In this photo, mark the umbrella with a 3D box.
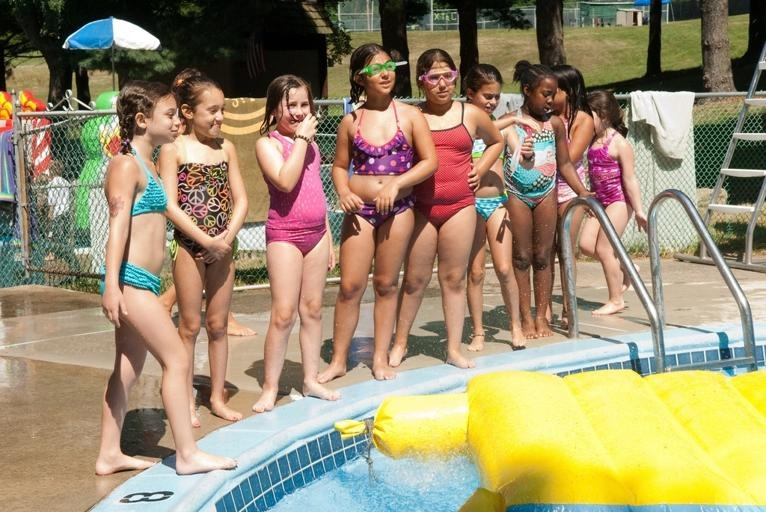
[{"bbox_3d":[-5.519,-4.431,15.823,1.599,1.498,1.660,0,7,4],"label":"umbrella"}]

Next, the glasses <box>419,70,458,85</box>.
[{"bbox_3d":[0.434,-1.442,6.122,0.301,0.105,0.104,-2,19,7],"label":"glasses"}]

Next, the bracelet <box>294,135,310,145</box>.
[{"bbox_3d":[-0.590,-0.869,5.655,0.128,0.079,0.071,-14,21,-26],"label":"bracelet"}]

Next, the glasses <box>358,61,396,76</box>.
[{"bbox_3d":[-0.014,-1.470,5.917,0.329,0.094,0.162,-14,21,-24],"label":"glasses"}]
